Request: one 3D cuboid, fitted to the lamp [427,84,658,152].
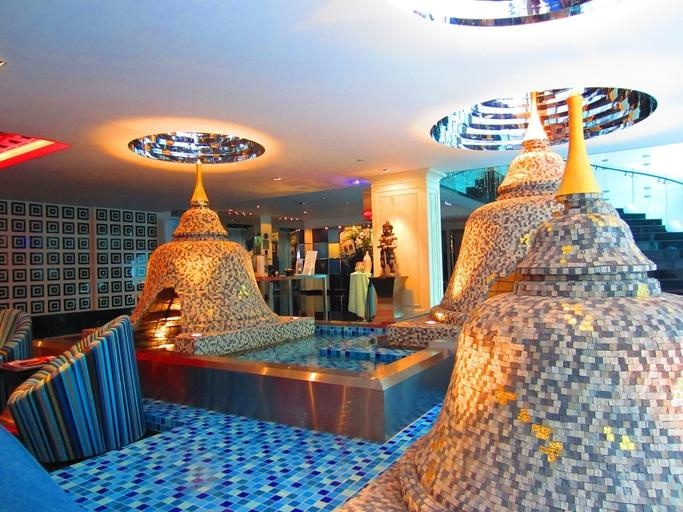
[{"bbox_3d":[2.539,-1.809,5.391,1.990,0.397,1.740,-1,-13,5],"label":"lamp"}]

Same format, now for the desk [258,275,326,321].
[{"bbox_3d":[-1.212,1.210,10.438,1.825,1.310,1.227,2,-1,-1],"label":"desk"}]
